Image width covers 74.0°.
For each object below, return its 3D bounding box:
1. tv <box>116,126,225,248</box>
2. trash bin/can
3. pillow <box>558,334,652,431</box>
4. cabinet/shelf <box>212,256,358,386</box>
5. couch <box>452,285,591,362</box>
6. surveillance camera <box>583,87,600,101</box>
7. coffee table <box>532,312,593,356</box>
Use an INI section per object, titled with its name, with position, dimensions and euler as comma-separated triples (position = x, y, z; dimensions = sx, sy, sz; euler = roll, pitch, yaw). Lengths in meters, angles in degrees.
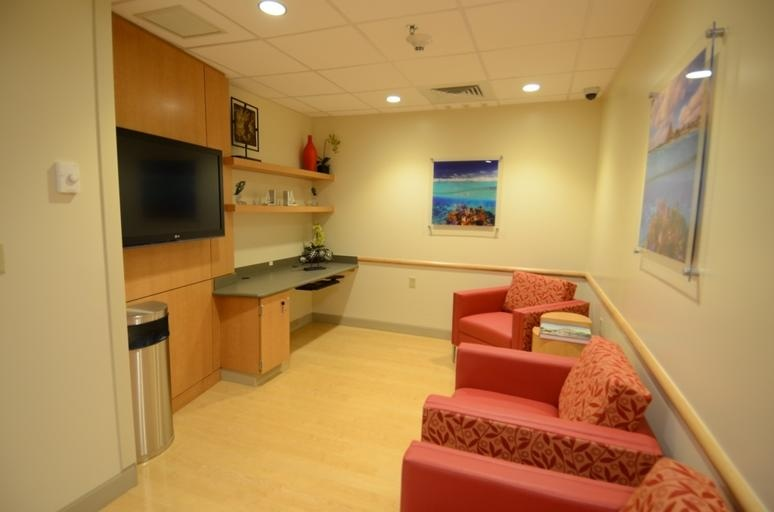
[tv]
position = -1.766, -0.551, 4.128
dimensions = 0.103, 0.723, 1.023
euler = 5, 9, 21
[trash bin/can]
position = -1.784, 0.969, 3.890
dimensions = 0.289, 1.119, 0.276
euler = -3, 11, -31
[pillow]
position = 1.367, 0.805, 3.182
dimensions = 0.238, 0.313, 0.460
euler = 28, 29, 9
[cabinet/shelf]
position = -1.159, 0.621, 5.440
dimensions = 0.763, 1.005, 1.449
euler = 5, 9, 17
[couch]
position = 1.257, 0.528, 5.151
dimensions = 0.827, 0.662, 0.826
euler = -2, 5, -36
[surveillance camera]
position = 2.051, -1.622, 5.139
dimensions = 0.149, 0.089, 0.202
euler = 5, 9, 19
[coffee table]
position = 1.494, 0.652, 4.323
dimensions = 0.360, 0.344, 0.383
euler = 5, 11, 37
